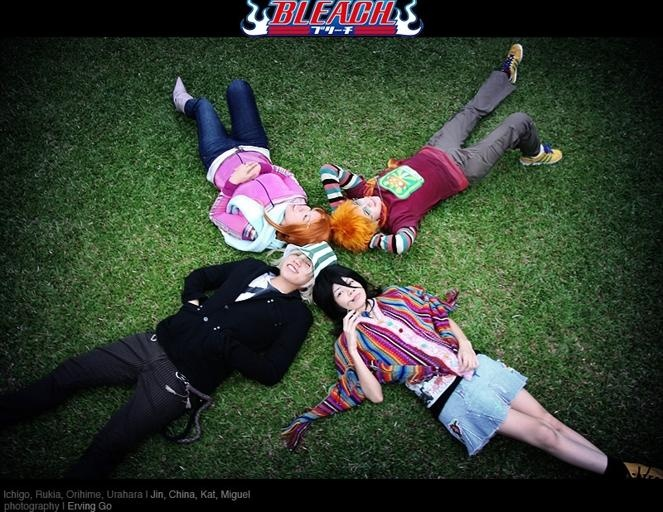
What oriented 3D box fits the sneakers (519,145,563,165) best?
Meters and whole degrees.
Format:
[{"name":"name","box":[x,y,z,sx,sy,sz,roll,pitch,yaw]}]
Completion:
[{"name":"sneakers","box":[1.950,-0.904,4.548,0.429,0.185,0.152,-3,60,2]}]

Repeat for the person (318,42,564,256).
[{"name":"person","box":[1.051,-0.865,4.650,2.432,0.780,1.056,-38,75,-3]}]

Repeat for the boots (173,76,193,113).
[{"name":"boots","box":[-1.427,-1.522,4.722,0.156,0.172,0.408,4,78,-26]}]

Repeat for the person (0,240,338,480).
[{"name":"person","box":[-1.197,0.846,3.917,2.185,0.361,1.099,-35,81,-6]}]

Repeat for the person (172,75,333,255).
[{"name":"person","box":[-0.767,-0.791,4.614,0.924,0.640,2.213,-31,73,-12]}]

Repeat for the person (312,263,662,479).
[{"name":"person","box":[0.959,1.125,4.254,2.430,0.772,1.381,30,78,19]}]

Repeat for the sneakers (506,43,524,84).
[{"name":"sneakers","box":[1.753,-1.872,4.759,0.150,0.172,0.401,11,100,27]}]
